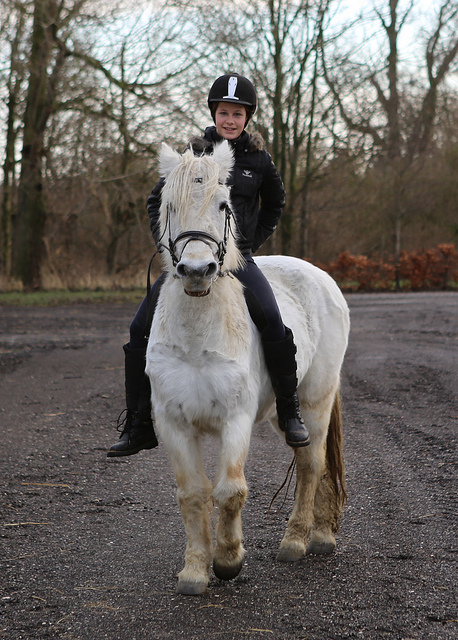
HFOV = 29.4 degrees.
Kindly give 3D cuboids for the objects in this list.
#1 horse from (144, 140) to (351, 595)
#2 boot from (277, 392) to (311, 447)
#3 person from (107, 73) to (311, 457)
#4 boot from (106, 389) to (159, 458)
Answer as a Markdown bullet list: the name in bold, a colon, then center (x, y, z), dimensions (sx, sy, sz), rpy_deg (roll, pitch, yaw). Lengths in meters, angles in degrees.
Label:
- **horse**: center (0.134, 0.442, 5.465), dimensions (0.917, 2.541, 2.905), rpy_deg (-1, -3, 22)
- **boot**: center (0.408, 0.635, 5.455), dimensions (0.175, 0.333, 0.312), rpy_deg (-3, 10, -16)
- **person**: center (-0.105, -0.373, 5.707), dimensions (1.270, 2.590, 0.782), rpy_deg (-3, 20, -11)
- **boot**: center (-0.620, 0.668, 5.537), dimensions (0.277, 0.442, 0.367), rpy_deg (0, 10, 0)
